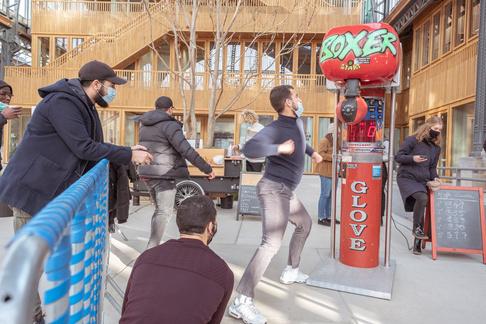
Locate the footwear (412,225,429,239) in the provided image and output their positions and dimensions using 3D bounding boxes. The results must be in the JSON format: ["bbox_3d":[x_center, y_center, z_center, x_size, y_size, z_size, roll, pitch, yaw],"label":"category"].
[{"bbox_3d":[2.751,1.115,5.829,0.129,0.138,0.290,1,-9,-3],"label":"footwear"}]

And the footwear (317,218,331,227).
[{"bbox_3d":[1.695,1.258,7.800,0.279,0.133,0.131,2,7,33],"label":"footwear"}]

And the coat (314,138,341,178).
[{"bbox_3d":[1.768,-0.099,8.120,0.628,1.063,0.872,1,-1,12],"label":"coat"}]

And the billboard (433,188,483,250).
[{"bbox_3d":[3.325,0.885,5.818,0.664,0.849,0.341,2,5,12],"label":"billboard"}]

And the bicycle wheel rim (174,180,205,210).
[{"bbox_3d":[-1.212,0.779,8.150,0.683,0.713,0.699,3,10,-9],"label":"bicycle wheel rim"}]

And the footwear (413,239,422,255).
[{"bbox_3d":[2.775,1.338,5.959,0.162,0.240,0.118,1,5,-3],"label":"footwear"}]

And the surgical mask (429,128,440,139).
[{"bbox_3d":[3.001,-0.441,5.909,0.131,0.086,0.144,7,11,-10],"label":"surgical mask"}]

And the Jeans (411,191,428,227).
[{"bbox_3d":[2.803,0.751,5.919,0.342,0.573,0.209,-1,5,-19],"label":"Jeans"}]
